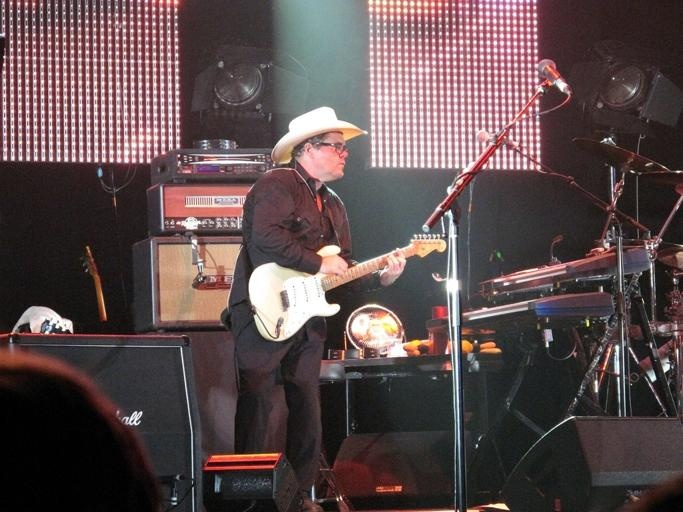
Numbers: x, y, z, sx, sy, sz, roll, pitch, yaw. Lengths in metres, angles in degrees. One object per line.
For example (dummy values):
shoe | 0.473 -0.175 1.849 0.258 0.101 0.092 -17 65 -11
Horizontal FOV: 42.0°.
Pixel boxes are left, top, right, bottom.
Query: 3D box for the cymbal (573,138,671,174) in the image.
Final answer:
cymbal | 1.826 -0.614 5.799 0.654 0.109 0.603 16 1 -14

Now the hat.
hat | -0.141 -0.643 5.132 0.501 0.204 0.466 -2 -5 13

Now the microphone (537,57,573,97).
microphone | 1.172 -1.005 4.936 0.167 0.240 0.423 1 5 12

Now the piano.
piano | 1.285 0.153 5.505 0.980 0.446 1.064 4 6 40
